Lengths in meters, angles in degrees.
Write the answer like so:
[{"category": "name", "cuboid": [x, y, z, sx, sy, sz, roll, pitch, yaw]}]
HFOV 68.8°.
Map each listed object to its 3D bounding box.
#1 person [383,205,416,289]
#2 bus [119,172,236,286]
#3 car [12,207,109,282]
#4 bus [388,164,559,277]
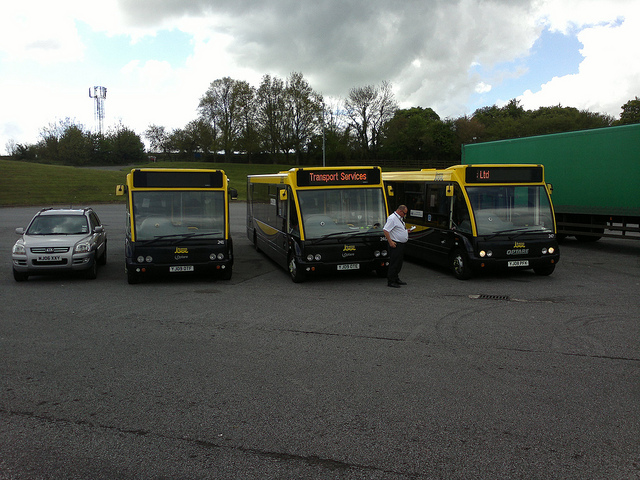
[{"category": "person", "cuboid": [1.978, 0.206, 12.097, 0.619, 2.107, 0.531, -2, 6, -14]}, {"category": "bus", "cuboid": [-3.894, -0.407, 12.538, 1.944, 2.242, 3.660, -1, 1, -13]}, {"category": "car", "cuboid": [-7.383, 0.056, 13.912, 1.510, 1.416, 3.022, -1, 0, -11]}, {"category": "bus", "cuboid": [4.469, -0.812, 16.549, 2.966, 3.513, 8.144, -3, 6, -11]}]
